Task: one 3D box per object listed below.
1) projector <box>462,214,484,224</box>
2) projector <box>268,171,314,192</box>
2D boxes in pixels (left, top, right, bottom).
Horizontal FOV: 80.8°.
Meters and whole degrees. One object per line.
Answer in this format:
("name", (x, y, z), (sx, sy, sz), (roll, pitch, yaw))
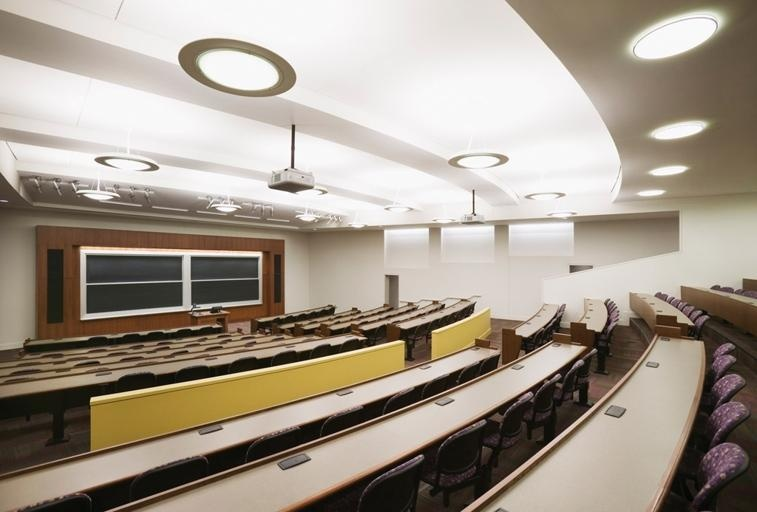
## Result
("projector", (2.639, -1.068, 12.488), (0.488, 0.248, 0.602), (-2, -5, 31))
("projector", (-1.426, -1.284, 7.663), (0.519, 0.219, 0.484), (-6, -10, 41))
